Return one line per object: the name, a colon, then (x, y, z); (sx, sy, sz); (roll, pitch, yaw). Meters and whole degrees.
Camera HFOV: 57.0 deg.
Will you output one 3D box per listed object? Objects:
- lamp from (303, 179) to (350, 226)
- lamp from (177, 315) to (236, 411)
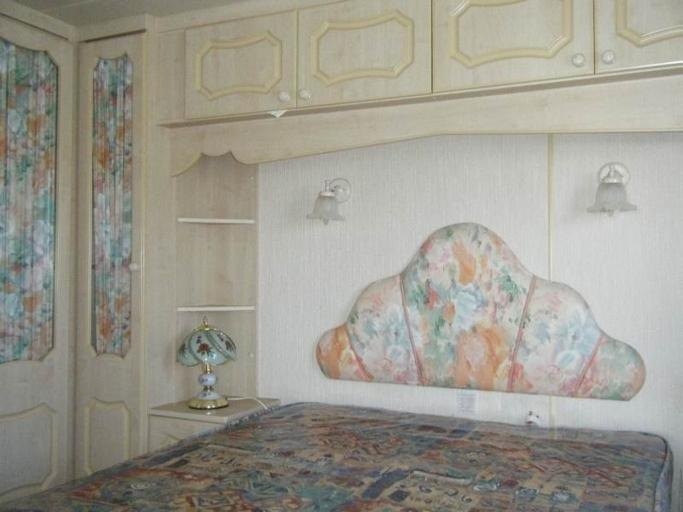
lamp: (-0.047, -0.290, 3.391); (0.219, 0.267, 0.238); (4, 1, 32)
lamp: (-0.739, 0.589, 3.513); (0.330, 0.465, 0.375); (-1, 4, -12)
